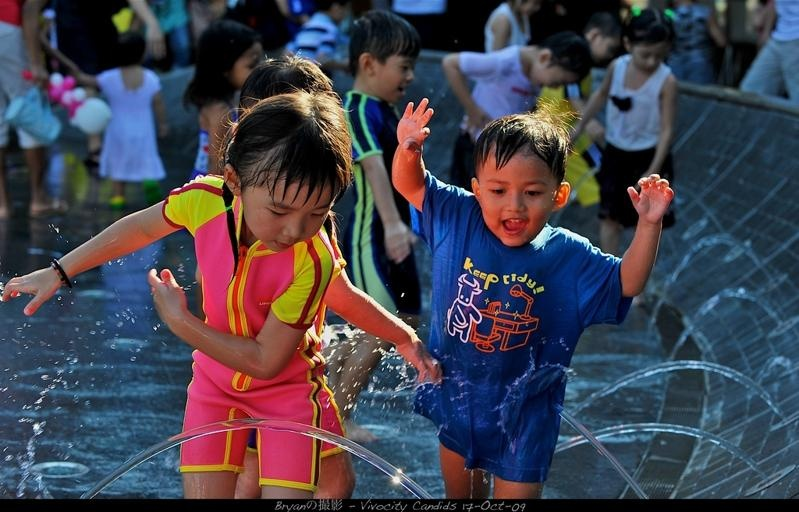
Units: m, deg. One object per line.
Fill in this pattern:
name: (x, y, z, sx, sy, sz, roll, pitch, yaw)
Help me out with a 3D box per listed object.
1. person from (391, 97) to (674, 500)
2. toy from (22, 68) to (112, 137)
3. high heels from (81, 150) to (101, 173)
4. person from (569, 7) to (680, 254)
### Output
person: (0.469, 0.247, 4.256, 1.158, 1.647, 0.619, 8, 20, 14)
toy: (-1.648, -0.761, 4.947, 0.141, 0.169, 0.458, -19, 38, -29)
high heels: (-2.561, -0.782, 8.388, 0.164, 0.183, 0.176, 2, 52, -11)
person: (1.567, -0.696, 6.927, 0.753, 1.954, 0.692, 0, 16, 1)
